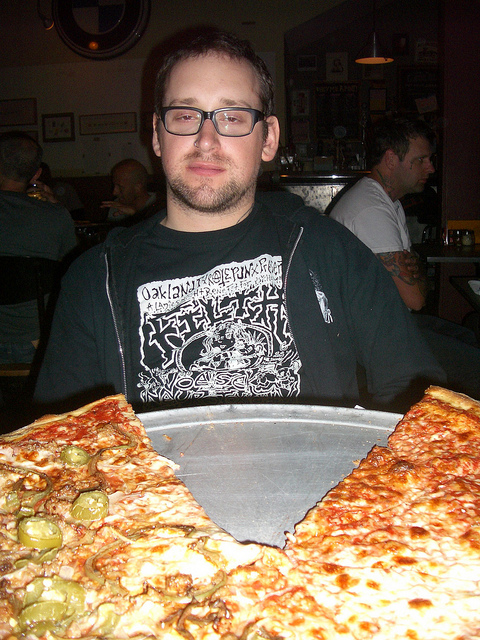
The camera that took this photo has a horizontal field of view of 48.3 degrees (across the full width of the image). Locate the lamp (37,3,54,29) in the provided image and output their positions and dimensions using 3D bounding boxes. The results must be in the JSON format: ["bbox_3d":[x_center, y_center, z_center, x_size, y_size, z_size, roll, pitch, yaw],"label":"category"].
[{"bbox_3d":[-2.291,-3.543,6.258,0.179,0.245,0.061,-1,30,29],"label":"lamp"}]

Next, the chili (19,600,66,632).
[{"bbox_3d":[-0.246,0.364,0.664,0.055,0.017,0.022,-7,16,-20],"label":"chili"}]

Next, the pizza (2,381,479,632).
[{"bbox_3d":[-0.003,0.285,0.868,0.917,0.083,0.499,-1,15,3],"label":"pizza"}]

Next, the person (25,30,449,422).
[{"bbox_3d":[0.005,-0.245,1.374,1.015,0.952,0.563,1,15,9],"label":"person"}]
